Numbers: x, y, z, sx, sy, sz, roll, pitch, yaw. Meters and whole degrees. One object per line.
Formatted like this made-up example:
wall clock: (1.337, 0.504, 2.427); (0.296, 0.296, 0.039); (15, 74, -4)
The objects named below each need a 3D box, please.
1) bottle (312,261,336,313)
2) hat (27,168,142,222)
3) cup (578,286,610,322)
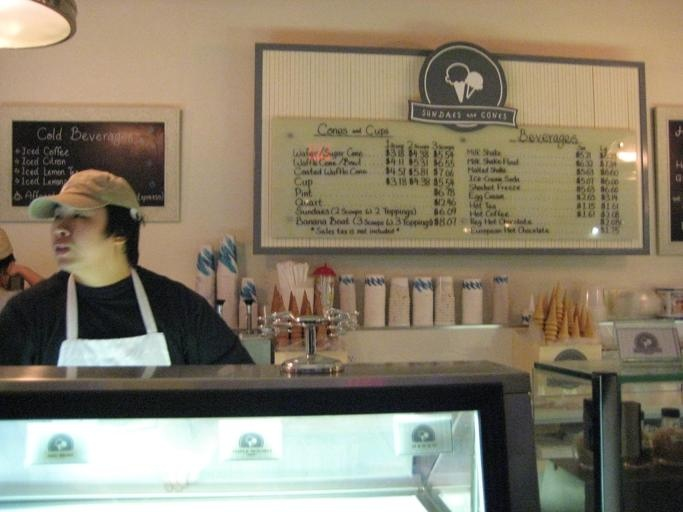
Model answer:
bottle: (-0.101, 0.181, 4.738); (0.139, 0.296, 0.240); (0, -3, -2)
hat: (-1.117, -0.278, 3.623); (0.494, 0.262, 0.348); (7, -8, -37)
cup: (1.489, 0.284, 4.757); (0.183, 0.307, 0.181); (0, -4, 0)
